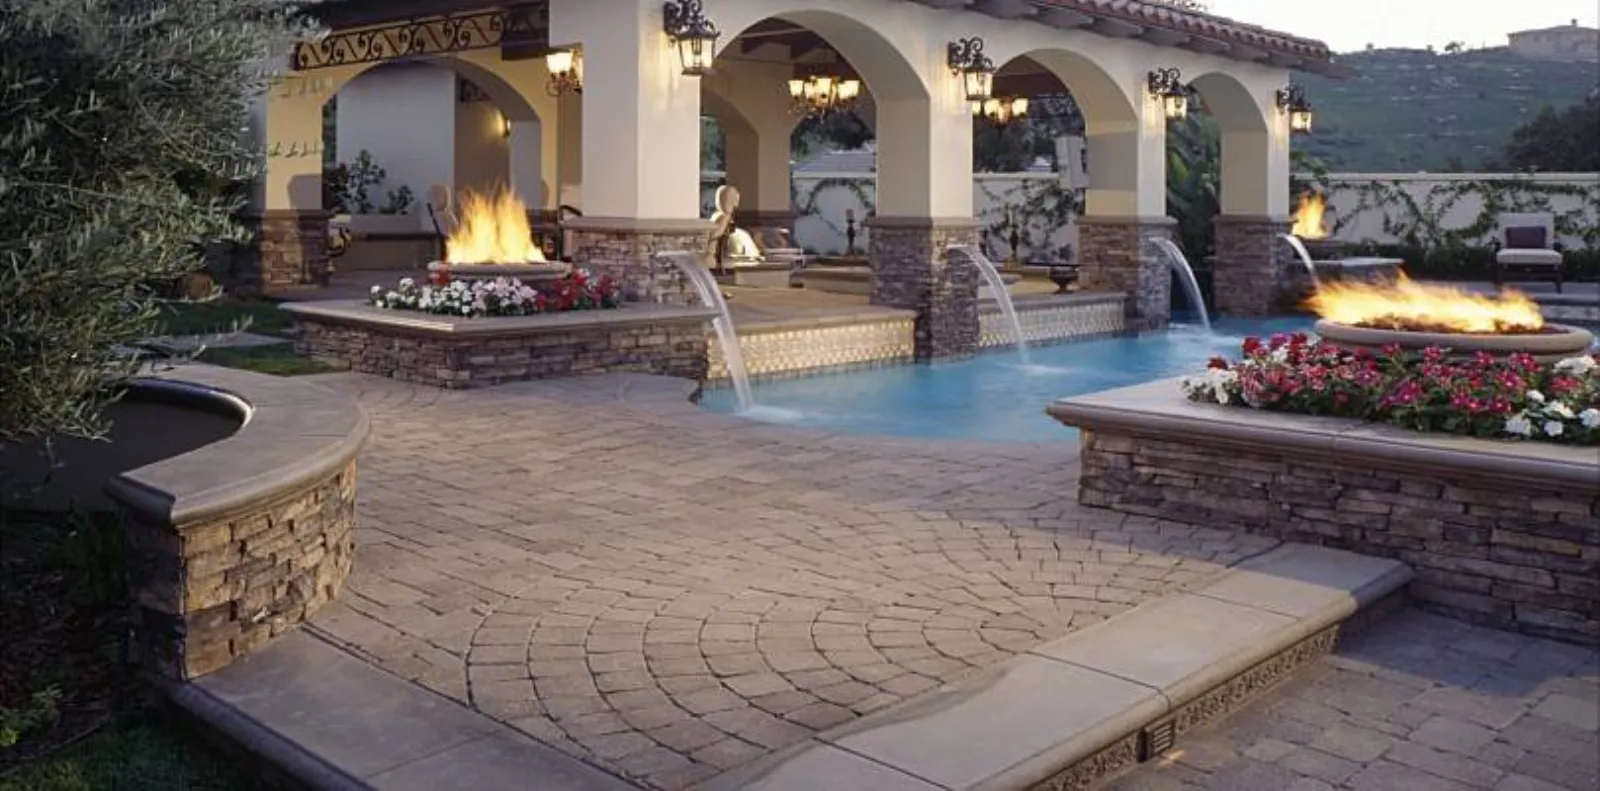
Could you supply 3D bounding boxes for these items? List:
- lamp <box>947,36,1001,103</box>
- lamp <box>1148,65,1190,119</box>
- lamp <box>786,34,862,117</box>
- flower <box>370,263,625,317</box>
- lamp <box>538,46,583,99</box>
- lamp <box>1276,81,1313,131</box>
[{"bbox_3d":[2.843,-5.438,15.424,0.728,1.034,0.509,5,15,20],"label":"lamp"},{"bbox_3d":[7.254,-5.955,18.350,0.734,0.946,0.304,-1,14,0],"label":"lamp"},{"bbox_3d":[0.645,-6.151,18.906,1.197,0.920,1.050,2,5,3],"label":"lamp"},{"bbox_3d":[-4.082,-1.416,12.565,2.949,0.468,1.606,3,14,15],"label":"flower"},{"bbox_3d":[-3.484,-4.804,13.678,0.359,0.607,0.826,-8,16,-27],"label":"lamp"},{"bbox_3d":[11.402,-6.620,21.417,0.963,1.020,0.719,2,14,10],"label":"lamp"}]
